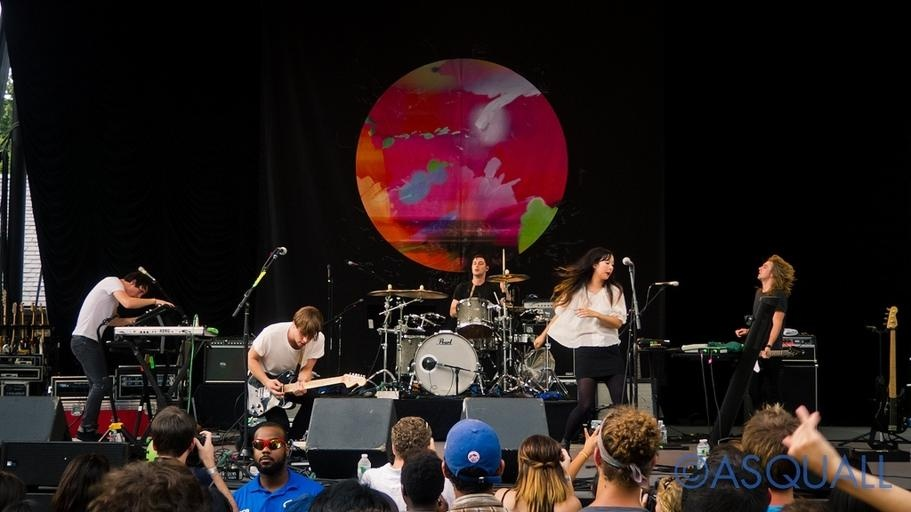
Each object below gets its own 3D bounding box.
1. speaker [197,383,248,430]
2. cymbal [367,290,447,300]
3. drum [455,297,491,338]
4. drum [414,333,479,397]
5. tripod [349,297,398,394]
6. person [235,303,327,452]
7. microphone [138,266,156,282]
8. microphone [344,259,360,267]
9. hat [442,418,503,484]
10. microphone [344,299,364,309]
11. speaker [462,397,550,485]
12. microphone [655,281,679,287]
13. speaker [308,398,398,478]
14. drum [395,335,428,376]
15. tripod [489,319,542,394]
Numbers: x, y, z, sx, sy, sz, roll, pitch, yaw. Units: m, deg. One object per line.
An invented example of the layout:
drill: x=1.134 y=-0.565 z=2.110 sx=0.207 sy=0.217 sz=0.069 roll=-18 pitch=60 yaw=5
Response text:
speaker: x=-3.685 y=2.384 z=13.621 sx=1.066 sy=0.834 sz=0.555 roll=0 pitch=1 yaw=2
cymbal: x=-0.821 y=0.626 z=14.616 sx=1.256 sy=0.180 sz=0.743 roll=4 pitch=-7 yaw=-4
drum: x=0.288 y=1.021 z=13.838 sx=0.642 sy=0.446 sz=0.616 roll=0 pitch=-19 yaw=0
drum: x=-0.154 y=1.744 z=13.501 sx=0.973 sy=0.887 sz=0.409 roll=5 pitch=-6 yaw=3
tripod: x=-1.200 y=1.414 z=14.412 sx=0.506 sy=1.533 sz=1.057 roll=5 pitch=-6 yaw=-11
person: x=-2.465 y=1.663 z=12.162 sx=1.131 sy=1.871 sz=0.508 roll=4 pitch=-6 yaw=-4
microphone: x=-4.984 y=0.293 z=13.871 sx=0.357 sy=0.082 sz=0.063 roll=35 pitch=16 yaw=-2
microphone: x=-1.801 y=0.131 z=14.933 sx=0.406 sy=0.077 sz=0.090 roll=7 pitch=5 yaw=-5
hat: x=0.188 y=2.088 z=9.475 sx=0.798 sy=0.574 sz=1.226 roll=2 pitch=3 yaw=2
microphone: x=-1.739 y=0.821 z=14.913 sx=0.256 sy=0.159 sz=0.065 roll=-40 pitch=-16 yaw=2
speaker: x=0.610 y=2.264 z=10.781 sx=0.992 sy=0.682 sz=0.948 roll=-1 pitch=-9 yaw=2
microphone: x=3.294 y=0.439 z=13.568 sx=0.337 sy=0.084 sz=0.076 roll=3 pitch=-2 yaw=5
speaker: x=-1.293 y=2.322 z=11.175 sx=1.069 sy=0.913 sz=1.038 roll=-1 pitch=-4 yaw=3
drum: x=-0.794 y=1.621 z=14.010 sx=0.618 sy=0.583 sz=0.602 roll=1 pitch=-9 yaw=3
tripod: x=0.882 y=1.671 z=14.320 sx=1.072 sy=1.155 sz=1.281 roll=-3 pitch=-6 yaw=27
